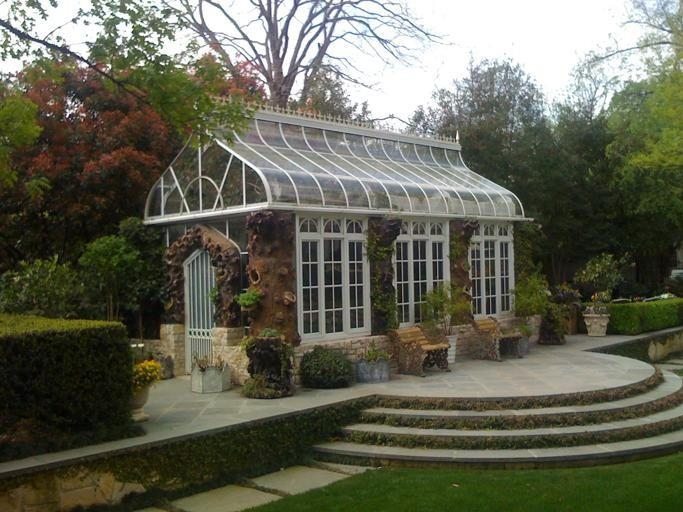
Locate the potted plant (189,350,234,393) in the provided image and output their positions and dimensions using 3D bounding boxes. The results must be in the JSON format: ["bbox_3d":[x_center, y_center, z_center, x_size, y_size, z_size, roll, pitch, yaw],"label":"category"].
[{"bbox_3d":[-3.011,2.695,15.615,0.766,0.809,0.760,-3,-4,23],"label":"potted plant"}]

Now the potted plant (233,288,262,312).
[{"bbox_3d":[-2.019,0.969,15.237,0.549,0.508,0.370,-2,-6,-12],"label":"potted plant"}]

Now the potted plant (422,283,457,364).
[{"bbox_3d":[2.561,1.771,17.980,0.825,2.118,1.607,-3,-6,6],"label":"potted plant"}]

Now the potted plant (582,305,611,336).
[{"bbox_3d":[8.802,2.260,23.520,0.851,1.236,1.035,-1,-1,8],"label":"potted plant"}]

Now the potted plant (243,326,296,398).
[{"bbox_3d":[-1.639,2.215,14.784,1.148,1.438,1.059,6,7,39],"label":"potted plant"}]

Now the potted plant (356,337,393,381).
[{"bbox_3d":[0.867,2.516,16.048,0.750,1.092,0.735,-5,-9,37],"label":"potted plant"}]

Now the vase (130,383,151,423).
[{"bbox_3d":[-3.705,2.727,12.859,0.508,0.662,0.514,-1,2,4],"label":"vase"}]

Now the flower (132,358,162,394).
[{"bbox_3d":[-3.637,2.220,12.683,0.325,0.550,0.690,-8,-8,42],"label":"flower"}]
